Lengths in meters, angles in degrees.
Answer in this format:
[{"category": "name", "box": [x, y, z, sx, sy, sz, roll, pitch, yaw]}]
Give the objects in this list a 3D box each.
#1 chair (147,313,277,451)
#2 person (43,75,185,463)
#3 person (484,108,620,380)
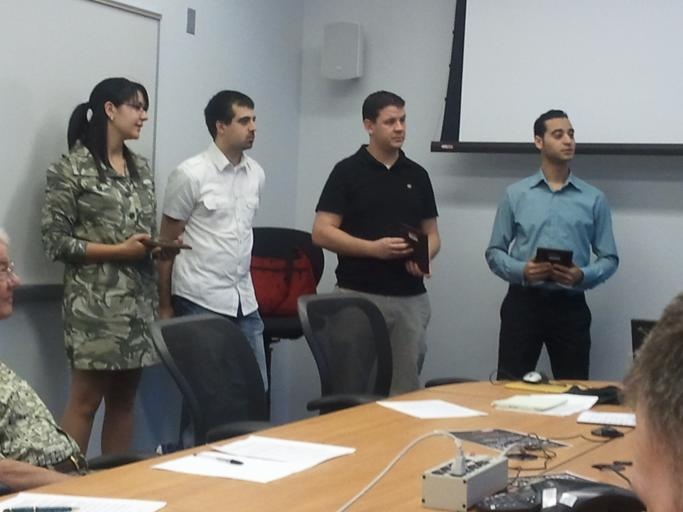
[{"category": "chair", "box": [-0.512, 0.478, 2.657, 0.401, 0.745, 0.459, 2, -14, -45]}, {"category": "person", "box": [-1.073, 0.180, 3.233, 0.576, 2.085, 0.635, 2, 2, 25]}, {"category": "person", "box": [1.135, -0.051, 3.631, 0.717, 1.492, 0.595, -6, 11, -38]}]
